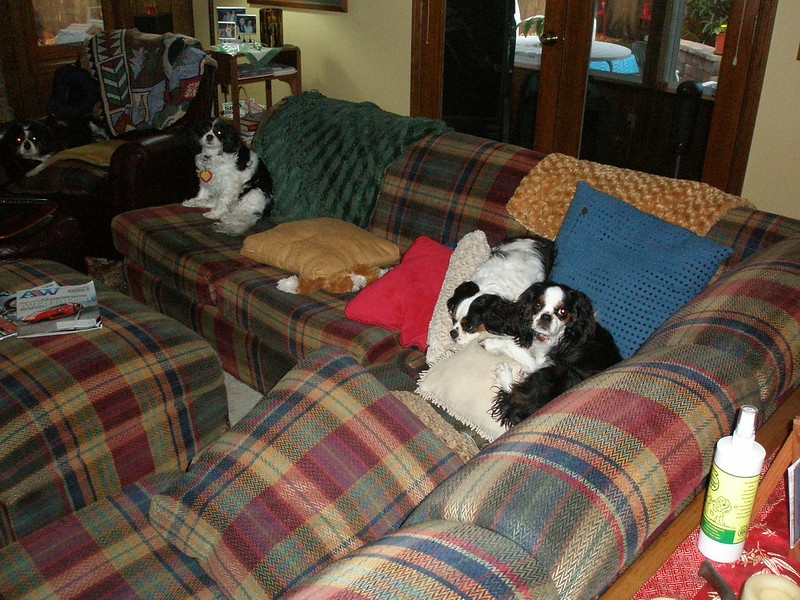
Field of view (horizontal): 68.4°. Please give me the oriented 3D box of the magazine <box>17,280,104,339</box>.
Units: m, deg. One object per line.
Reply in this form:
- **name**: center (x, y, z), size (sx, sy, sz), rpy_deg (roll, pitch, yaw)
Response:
- **magazine**: center (-1.414, 0.043, 2.442), size (0.269, 0.061, 0.260), rpy_deg (-5, 46, -15)

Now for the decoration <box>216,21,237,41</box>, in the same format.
- **decoration**: center (-1.640, -2.547, 5.590), size (0.186, 0.174, 0.109), rpy_deg (-2, 27, -3)

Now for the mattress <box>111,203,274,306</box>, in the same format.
- **mattress**: center (-1.138, -0.289, 3.016), size (0.631, 0.167, 0.621), rpy_deg (-27, 54, -35)

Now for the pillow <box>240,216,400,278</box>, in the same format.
- **pillow**: center (-0.401, -0.244, 2.696), size (0.382, 0.126, 0.434), rpy_deg (16, 26, 37)

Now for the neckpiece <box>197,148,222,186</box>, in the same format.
- **neckpiece**: center (-1.097, -0.791, 3.441), size (0.154, 0.174, 0.082), rpy_deg (11, 16, 33)

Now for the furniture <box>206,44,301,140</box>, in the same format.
- **furniture**: center (-1.318, -1.961, 5.403), size (0.700, 0.763, 0.597), rpy_deg (-16, 42, -26)

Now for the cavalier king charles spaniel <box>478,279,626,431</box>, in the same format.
- **cavalier king charles spaniel**: center (0.492, 0.187, 1.868), size (0.467, 0.219, 0.582), rpy_deg (-4, 34, 9)

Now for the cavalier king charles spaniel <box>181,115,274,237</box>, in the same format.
- **cavalier king charles spaniel**: center (-0.954, -0.736, 3.348), size (0.497, 0.562, 0.514), rpy_deg (-22, 40, -40)

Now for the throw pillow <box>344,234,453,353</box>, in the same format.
- **throw pillow**: center (0.058, -0.057, 2.392), size (0.376, 0.123, 0.419), rpy_deg (25, 63, 16)

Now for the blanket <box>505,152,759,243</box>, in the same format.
- **blanket**: center (0.835, -0.399, 2.267), size (0.607, 0.181, 0.472), rpy_deg (30, 65, 29)

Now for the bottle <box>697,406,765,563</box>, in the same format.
- **bottle**: center (0.643, 0.353, 1.121), size (0.094, 0.307, 0.109), rpy_deg (16, 31, 30)
